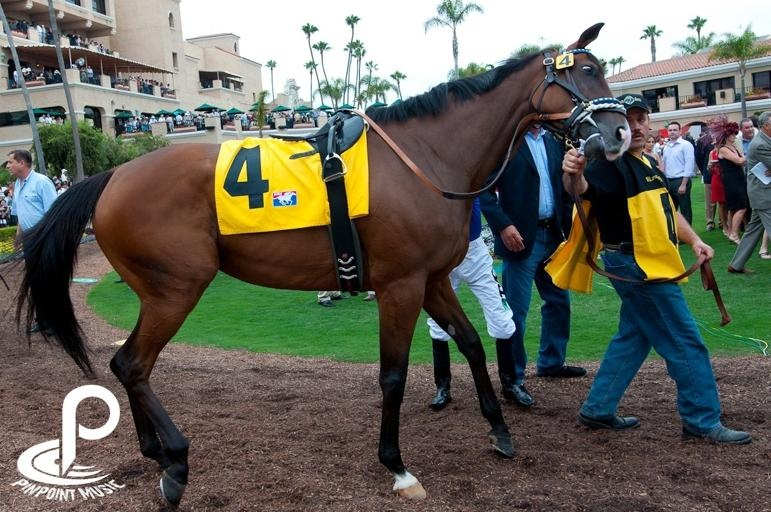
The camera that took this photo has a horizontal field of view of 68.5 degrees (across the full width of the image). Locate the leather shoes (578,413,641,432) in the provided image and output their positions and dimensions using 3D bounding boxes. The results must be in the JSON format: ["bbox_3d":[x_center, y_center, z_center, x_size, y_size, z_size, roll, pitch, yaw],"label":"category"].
[{"bbox_3d":[1.671,1.233,4.246,0.406,0.135,0.142,-3,16,3],"label":"leather shoes"}]

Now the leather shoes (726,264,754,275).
[{"bbox_3d":[4.734,0.174,7.628,0.430,0.132,0.114,-4,11,-6],"label":"leather shoes"}]

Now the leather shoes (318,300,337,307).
[{"bbox_3d":[-0.786,0.641,7.797,0.185,0.060,0.092,1,8,28],"label":"leather shoes"}]

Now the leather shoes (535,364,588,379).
[{"bbox_3d":[1.593,1.045,5.152,0.453,0.138,0.141,-3,14,4],"label":"leather shoes"}]

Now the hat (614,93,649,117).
[{"bbox_3d":[1.713,-1.080,3.927,0.210,0.109,0.257,-2,2,19],"label":"hat"}]

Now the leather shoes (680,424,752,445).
[{"bbox_3d":[2.282,1.236,3.979,0.444,0.148,0.142,-3,1,18],"label":"leather shoes"}]
